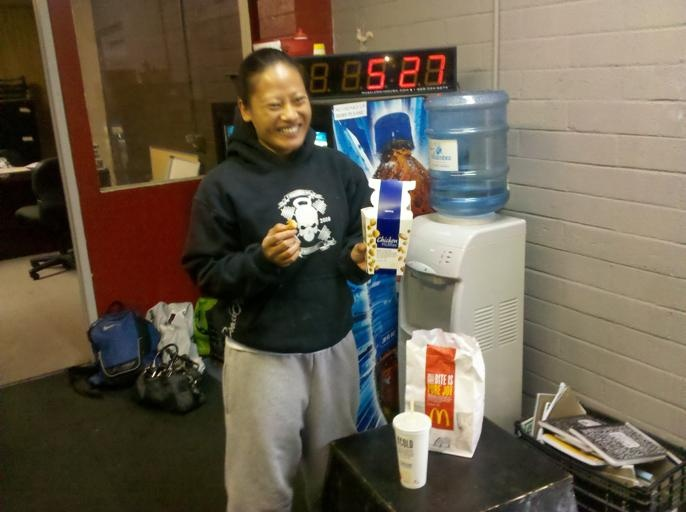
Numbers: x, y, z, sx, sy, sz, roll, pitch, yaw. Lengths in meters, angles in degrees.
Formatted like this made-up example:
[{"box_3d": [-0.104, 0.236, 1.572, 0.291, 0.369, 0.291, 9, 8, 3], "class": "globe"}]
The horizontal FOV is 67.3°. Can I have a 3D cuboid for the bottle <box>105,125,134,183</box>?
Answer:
[{"box_3d": [-1.451, -0.654, 3.337, 0.081, 0.366, 0.140, 12, 22, 41], "class": "bottle"}]

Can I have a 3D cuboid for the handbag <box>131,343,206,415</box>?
[{"box_3d": [-1.087, 0.774, 3.249, 0.319, 0.168, 0.458, 1, 24, -11], "class": "handbag"}]

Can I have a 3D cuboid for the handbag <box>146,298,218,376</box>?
[{"box_3d": [-1.095, 0.536, 3.481, 0.184, 0.390, 0.463, -8, 33, -25], "class": "handbag"}]

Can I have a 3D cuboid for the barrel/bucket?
[{"box_3d": [0.603, -0.497, 2.501, 0.400, 0.561, 0.344, 1, 17, 10], "class": "barrel/bucket"}]

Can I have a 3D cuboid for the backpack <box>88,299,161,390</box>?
[{"box_3d": [-1.425, 0.556, 3.316, 0.381, 0.517, 0.200, -7, 2, -27], "class": "backpack"}]

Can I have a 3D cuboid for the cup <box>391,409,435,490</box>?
[{"box_3d": [0.199, 0.550, 1.503, 0.103, 0.230, 0.111, -2, 17, 1], "class": "cup"}]
